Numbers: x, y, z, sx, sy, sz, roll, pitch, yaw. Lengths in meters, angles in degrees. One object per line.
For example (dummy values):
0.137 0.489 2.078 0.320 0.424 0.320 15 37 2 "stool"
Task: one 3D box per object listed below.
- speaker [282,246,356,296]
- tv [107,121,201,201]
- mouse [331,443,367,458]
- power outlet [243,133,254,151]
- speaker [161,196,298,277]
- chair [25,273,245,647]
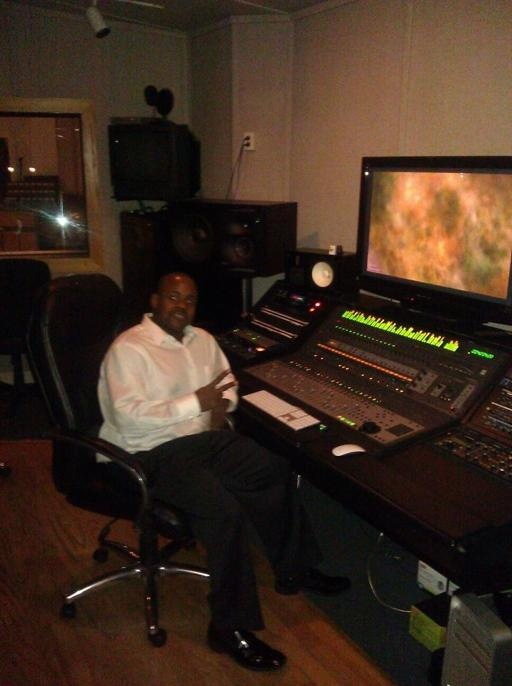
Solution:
0.292 -0.338 2.677 0.311 0.162 0.153 15 26 34 "speaker"
-0.649 -1.200 3.864 0.536 0.430 0.369 12 20 28 "tv"
0.254 0.296 1.608 0.074 0.018 0.037 -7 21 -4 "mouse"
-0.044 -1.216 3.493 0.080 0.100 0.018 13 20 34 "power outlet"
-0.147 -0.587 3.213 0.712 0.356 0.351 10 17 33 "speaker"
-0.477 0.379 1.975 0.451 1.184 0.720 -12 21 -39 "chair"
